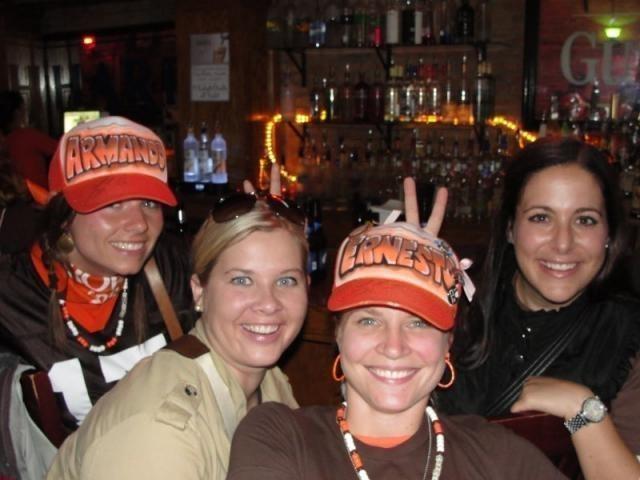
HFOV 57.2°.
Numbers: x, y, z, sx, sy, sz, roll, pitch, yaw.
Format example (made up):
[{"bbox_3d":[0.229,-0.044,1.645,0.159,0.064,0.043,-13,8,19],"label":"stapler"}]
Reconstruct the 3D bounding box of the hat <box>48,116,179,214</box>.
[{"bbox_3d":[-0.886,-0.313,2.479,0.375,0.294,0.512,-1,8,-36],"label":"hat"}]
